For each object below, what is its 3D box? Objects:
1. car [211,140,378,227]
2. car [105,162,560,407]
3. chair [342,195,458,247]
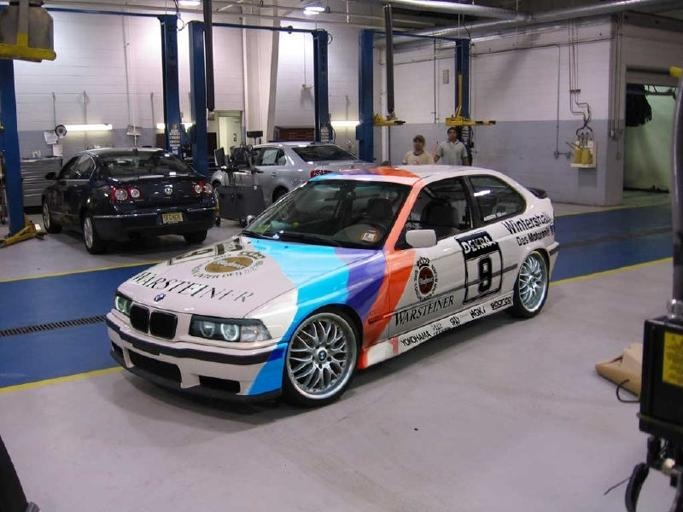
[{"bbox_3d":[-1.806,-1.749,11.798,1.655,1.497,3.953,-9,12,-37],"label":"car"},{"bbox_3d":[0.077,0.101,4.344,3.842,1.590,1.314,-10,16,-33],"label":"car"},{"bbox_3d":[0.631,-0.348,4.462,0.863,0.397,0.513,-6,8,-32],"label":"chair"}]
